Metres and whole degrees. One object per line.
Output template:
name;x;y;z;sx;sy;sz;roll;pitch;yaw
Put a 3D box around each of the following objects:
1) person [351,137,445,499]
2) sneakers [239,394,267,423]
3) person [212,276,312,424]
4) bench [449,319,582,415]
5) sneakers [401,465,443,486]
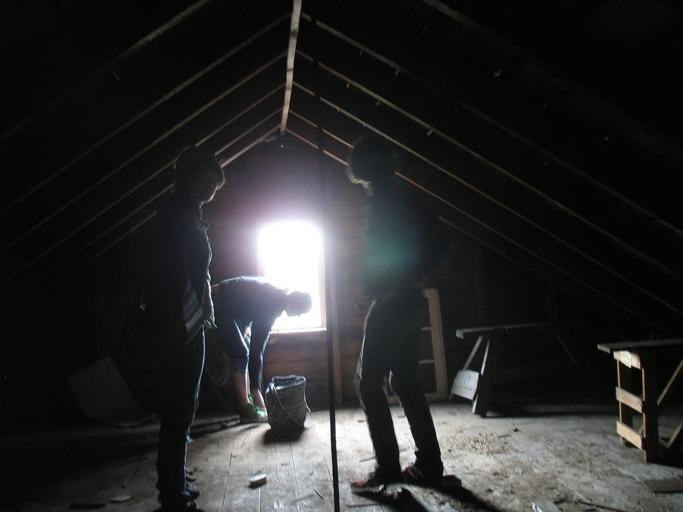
person;0.310;0.329;3.125;0.551;1.980;0.315;0;-7;8
sneakers;-0.725;1.304;4.606;0.302;0.232;0.118;-1;-4;-9
person;-0.704;0.774;4.508;0.727;1.167;0.399;3;-7;-15
bench;1.551;0.946;4.863;1.061;0.726;0.466;-3;0;-11
sneakers;0.444;1.247;3.095;0.166;0.069;0.134;12;-14;-5
